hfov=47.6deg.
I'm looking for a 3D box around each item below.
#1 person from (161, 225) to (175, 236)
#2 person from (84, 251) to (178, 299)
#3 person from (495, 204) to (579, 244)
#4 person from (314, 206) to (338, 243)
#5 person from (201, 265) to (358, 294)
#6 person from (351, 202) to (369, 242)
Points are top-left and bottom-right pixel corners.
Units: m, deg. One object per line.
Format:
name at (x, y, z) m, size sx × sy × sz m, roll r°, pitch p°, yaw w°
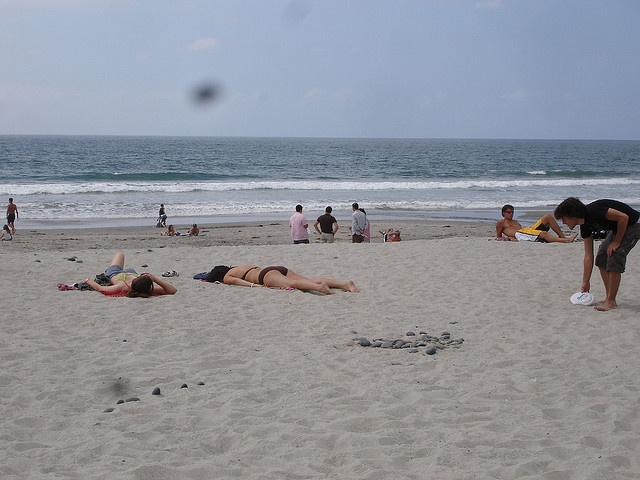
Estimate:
person at (-4.899, -0.293, 23.708) m, size 0.294 × 0.304 × 0.720 m, roll -1°, pitch 1°, yaw -37°
person at (-3.095, 0.676, 11.705) m, size 1.381 × 0.361 × 0.837 m, roll 7°, pitch 12°, yaw 35°
person at (4.540, -0.282, 15.705) m, size 1.341 × 0.591 × 1.023 m, roll 0°, pitch 4°, yaw 35°
person at (0.141, -0.381, 19.072) m, size 0.531 × 1.066 × 1.031 m, roll -1°, pitch 11°, yaw 0°
person at (-0.676, 0.482, 12.085) m, size 2.570 × 0.400 × 0.796 m, roll 2°, pitch 2°, yaw 27°
person at (0.999, -0.353, 18.114) m, size 0.298 × 0.835 × 0.472 m, roll 8°, pitch 14°, yaw 38°
